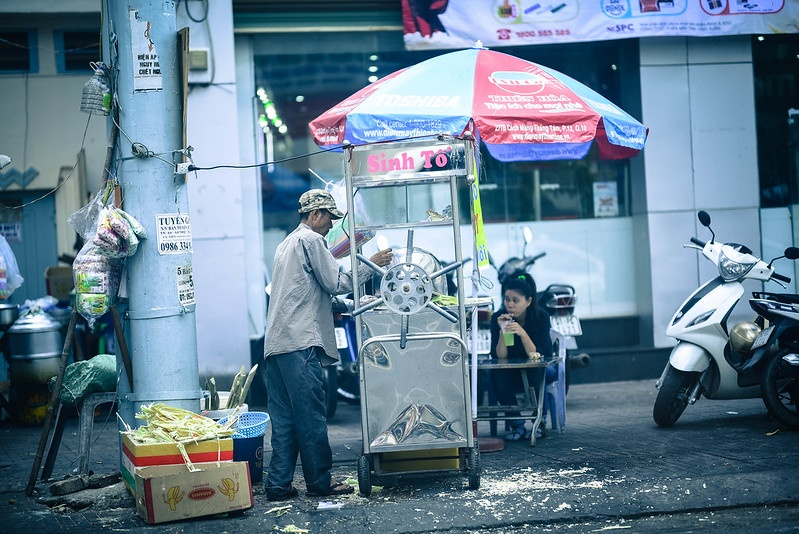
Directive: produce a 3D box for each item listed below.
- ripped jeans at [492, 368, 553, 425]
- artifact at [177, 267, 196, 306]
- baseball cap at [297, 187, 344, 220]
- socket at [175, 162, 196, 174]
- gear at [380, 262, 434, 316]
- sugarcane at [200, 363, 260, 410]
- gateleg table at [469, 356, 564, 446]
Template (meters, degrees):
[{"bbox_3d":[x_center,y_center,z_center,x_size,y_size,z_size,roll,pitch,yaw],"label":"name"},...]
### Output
[{"bbox_3d":[1.442,1.501,13.554,0.548,0.839,1.081,3,-4,-33],"label":"ripped jeans"},{"bbox_3d":[-2.384,0.215,12.320,0.091,0.474,0.249,0,5,28],"label":"artifact"},{"bbox_3d":[-0.882,-0.721,12.343,0.416,0.243,0.292,2,3,-10],"label":"baseball cap"},{"bbox_3d":[-2.361,-1.093,12.237,0.251,0.137,0.110,-1,5,23],"label":"socket"},{"bbox_3d":[0.066,0.235,11.817,0.545,0.553,0.110,-3,4,-4],"label":"gear"},{"bbox_3d":[-1.945,1.520,12.919,0.962,0.491,0.745,-4,-14,4],"label":"sugarcane"},{"bbox_3d":[1.452,1.595,13.400,0.995,0.676,1.052,0,-5,3],"label":"gateleg table"}]
